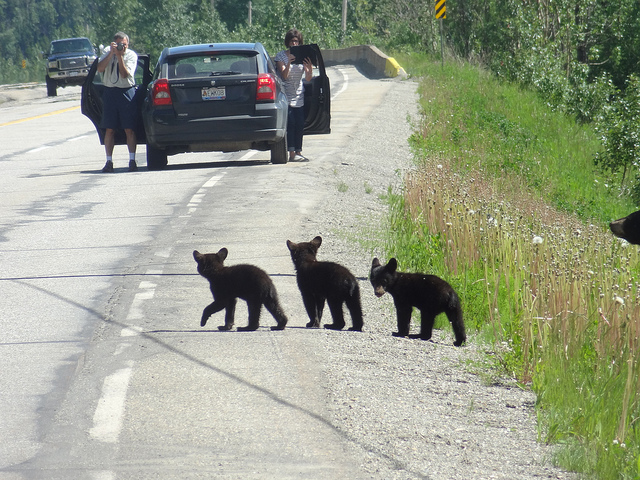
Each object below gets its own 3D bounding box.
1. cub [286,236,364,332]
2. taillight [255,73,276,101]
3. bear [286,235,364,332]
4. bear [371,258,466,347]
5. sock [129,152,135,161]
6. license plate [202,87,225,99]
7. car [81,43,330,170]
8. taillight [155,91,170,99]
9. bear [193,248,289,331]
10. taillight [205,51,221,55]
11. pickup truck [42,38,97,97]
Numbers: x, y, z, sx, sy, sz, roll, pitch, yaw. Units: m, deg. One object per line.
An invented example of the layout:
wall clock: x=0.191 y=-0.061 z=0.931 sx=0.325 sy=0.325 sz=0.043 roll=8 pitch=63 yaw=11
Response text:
cub: x=0.013 y=0.414 z=10.003 sx=0.812 sy=0.863 sz=0.341 roll=5 pitch=10 yaw=43
taillight: x=-0.844 y=-2.357 z=16.772 sx=0.213 sy=0.239 sz=0.450 roll=0 pitch=25 yaw=0
bear: x=0.031 y=0.413 z=10.020 sx=0.804 sy=0.838 sz=0.361 roll=6 pitch=12 yaw=42
bear: x=0.902 y=0.557 z=9.866 sx=0.852 sy=0.733 sz=0.348 roll=7 pitch=8 yaw=18
sock: x=-3.104 y=-1.372 z=17.821 sx=0.065 sy=0.113 sz=0.143 roll=-4 pitch=14 yaw=-17
license plate: x=-1.651 y=-2.263 z=16.726 sx=0.340 sy=0.164 sz=0.049 roll=-2 pitch=12 yaw=-6
car: x=-1.772 y=-2.109 z=17.408 sx=3.858 sy=2.107 sz=1.487 roll=0 pitch=13 yaw=0
taillight: x=-2.436 y=-2.237 z=16.718 sx=0.208 sy=0.096 sz=0.047 roll=4 pitch=13 yaw=15
bear: x=-0.754 y=0.489 z=9.826 sx=0.859 sy=0.777 sz=0.334 roll=3 pitch=8 yaw=16
taillight: x=-1.670 y=-2.897 z=16.735 sx=0.220 sy=0.050 sz=0.070 roll=-5 pitch=15 yaw=-15
pickup truck: x=-9.767 y=-6.804 z=42.494 sx=1.948 sy=2.213 sz=4.393 roll=-6 pitch=8 yaw=-15
